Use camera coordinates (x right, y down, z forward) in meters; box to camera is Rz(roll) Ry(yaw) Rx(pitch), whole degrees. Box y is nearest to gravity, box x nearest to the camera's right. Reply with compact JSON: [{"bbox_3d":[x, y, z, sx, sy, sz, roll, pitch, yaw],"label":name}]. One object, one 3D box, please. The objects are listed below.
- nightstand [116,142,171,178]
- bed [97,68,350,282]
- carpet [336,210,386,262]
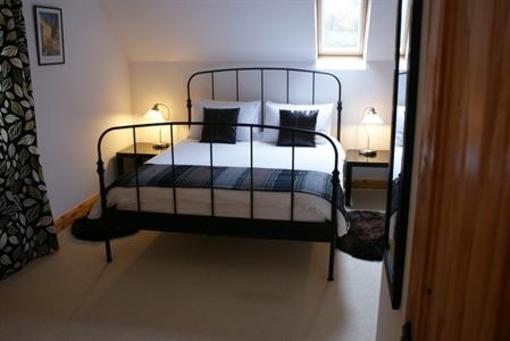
[{"bbox_3d":[-1.262,-0.154,4.086,0.469,0.504,0.472,-2,20,-9],"label":"nightstand"},{"bbox_3d":[-0.126,-0.212,3.639,1.824,1.400,2.355,3,17,10],"label":"bed"},{"bbox_3d":[0.895,0.548,3.071,0.369,0.055,0.386,-8,20,-4],"label":"carpet"}]
